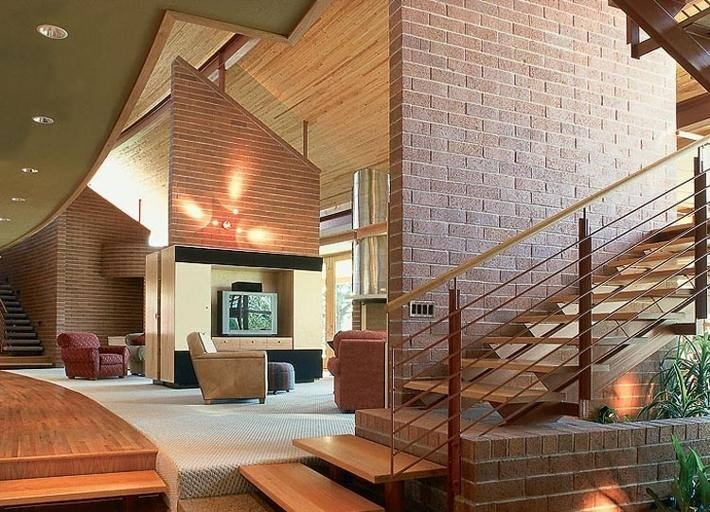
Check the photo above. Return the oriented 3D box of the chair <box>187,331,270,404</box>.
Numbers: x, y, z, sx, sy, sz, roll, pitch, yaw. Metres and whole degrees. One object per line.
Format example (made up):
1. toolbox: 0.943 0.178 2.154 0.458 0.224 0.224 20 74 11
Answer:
1. chair: -1.814 1.636 7.658 1.296 0.835 1.249 3 -9 2

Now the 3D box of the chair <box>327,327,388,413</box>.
1. chair: 0.083 1.419 6.447 0.631 1.005 0.720 0 -12 -20

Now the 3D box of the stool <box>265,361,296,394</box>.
1. stool: -1.346 2.002 8.578 0.694 0.465 0.598 -1 -16 -4

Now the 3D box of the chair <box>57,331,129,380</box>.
1. chair: -5.763 2.158 11.393 1.257 0.831 1.030 3 -6 15

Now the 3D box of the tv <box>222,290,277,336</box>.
1. tv: -1.861 1.078 9.851 1.277 0.842 0.426 -4 -5 32
